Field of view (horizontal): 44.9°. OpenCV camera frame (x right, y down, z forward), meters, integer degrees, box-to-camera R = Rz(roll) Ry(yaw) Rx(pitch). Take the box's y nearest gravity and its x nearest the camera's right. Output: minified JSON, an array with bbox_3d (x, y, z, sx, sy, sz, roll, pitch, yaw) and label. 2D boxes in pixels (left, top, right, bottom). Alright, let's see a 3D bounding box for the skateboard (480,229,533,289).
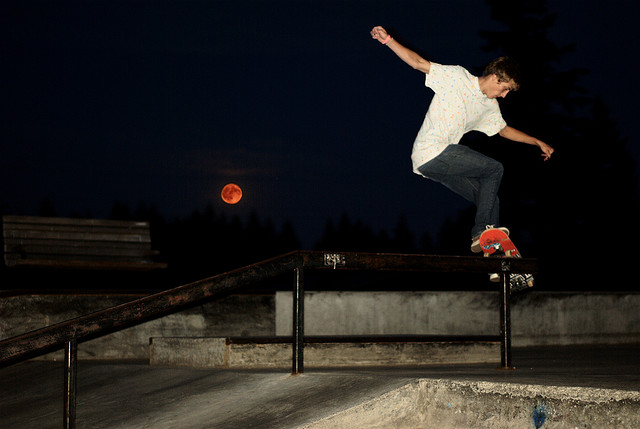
[{"bbox_3d":[2.606,0.530,10.609,0.480,0.957,0.199,-37,-1,35],"label":"skateboard"}]
